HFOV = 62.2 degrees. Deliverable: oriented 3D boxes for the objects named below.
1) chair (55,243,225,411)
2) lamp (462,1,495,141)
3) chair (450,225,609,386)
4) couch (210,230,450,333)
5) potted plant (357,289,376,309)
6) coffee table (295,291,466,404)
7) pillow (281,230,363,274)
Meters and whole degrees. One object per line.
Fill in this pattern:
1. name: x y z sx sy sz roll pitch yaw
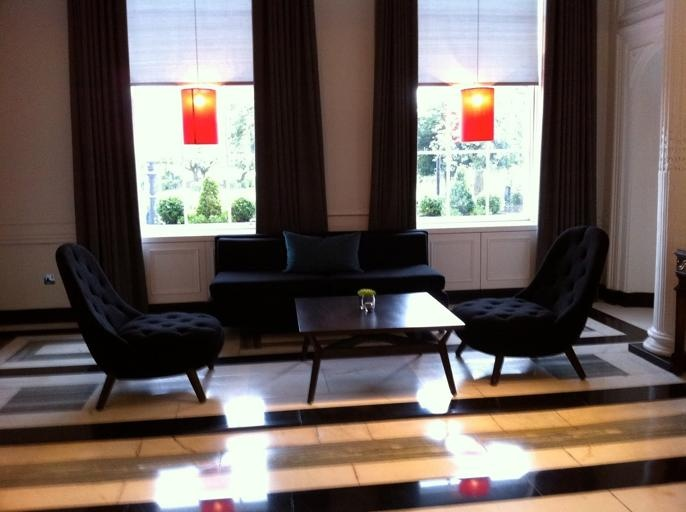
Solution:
1. chair: -1.589 0.493 4.543 1.306 1.129 0.969 3 6 -8
2. lamp: 1.474 -2.025 6.201 0.338 1.509 0.677 1 15 12
3. chair: 1.590 0.357 4.799 1.240 1.173 0.918 -2 8 -9
4. couch: -0.173 0.252 5.885 2.386 1.019 0.920 -2 4 -4
5. potted plant: 0.188 0.339 4.606 0.167 0.168 0.130 -1 3 -7
6. coffee table: 0.242 0.660 4.753 1.231 0.613 1.242 -4 14 -6
7. pillow: -0.207 -0.026 5.930 0.801 0.461 0.258 0 -8 -1
